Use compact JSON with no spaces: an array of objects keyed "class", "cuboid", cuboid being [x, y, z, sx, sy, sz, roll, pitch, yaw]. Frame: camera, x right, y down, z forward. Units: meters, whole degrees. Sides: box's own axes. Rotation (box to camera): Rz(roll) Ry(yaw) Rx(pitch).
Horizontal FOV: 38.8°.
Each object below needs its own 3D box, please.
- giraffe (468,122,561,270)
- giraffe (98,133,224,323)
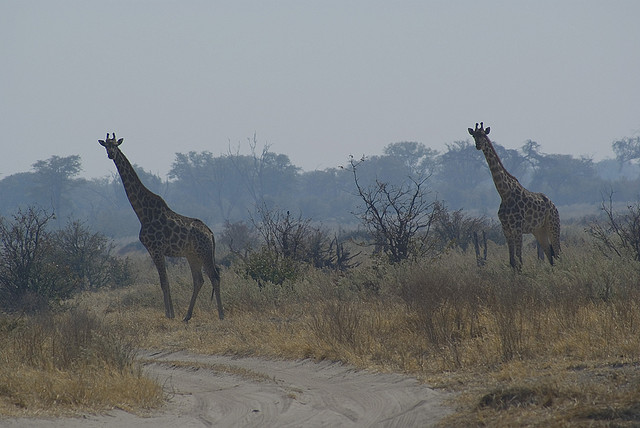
[{"class":"giraffe","cuboid":[6.524,-0.594,29.680,2.472,4.967,2.008,-1,12,15]},{"class":"giraffe","cuboid":[-4.970,0.343,29.673,3.514,6.043,1.490,0,13,20]}]
